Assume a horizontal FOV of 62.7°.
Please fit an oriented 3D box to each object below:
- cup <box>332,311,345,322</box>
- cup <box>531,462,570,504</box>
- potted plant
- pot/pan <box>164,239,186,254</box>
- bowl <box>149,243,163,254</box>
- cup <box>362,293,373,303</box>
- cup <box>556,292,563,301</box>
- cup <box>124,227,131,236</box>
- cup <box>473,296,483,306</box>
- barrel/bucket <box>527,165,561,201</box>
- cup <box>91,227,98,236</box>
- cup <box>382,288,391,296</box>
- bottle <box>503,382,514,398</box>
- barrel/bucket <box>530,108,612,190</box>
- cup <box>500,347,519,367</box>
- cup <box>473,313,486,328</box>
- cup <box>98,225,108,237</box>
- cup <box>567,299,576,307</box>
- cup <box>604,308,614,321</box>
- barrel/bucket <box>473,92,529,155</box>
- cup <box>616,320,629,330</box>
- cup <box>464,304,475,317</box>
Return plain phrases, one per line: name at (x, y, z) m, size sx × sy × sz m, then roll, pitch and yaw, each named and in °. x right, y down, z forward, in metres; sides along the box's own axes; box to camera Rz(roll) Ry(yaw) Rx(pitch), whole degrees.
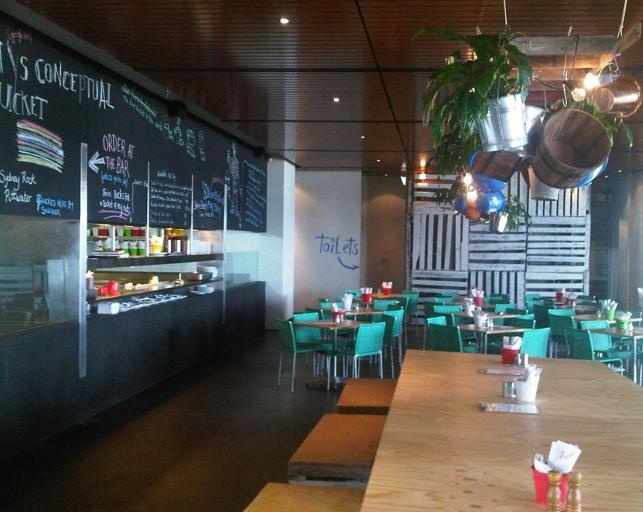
cup at (0.190, 0.693, 5.984) m, size 0.105 × 0.093 × 0.114 m, roll 0°, pitch -9°, yaw 0°
cup at (0.683, 0.701, 1.619) m, size 0.111 × 0.088 × 0.110 m, roll 2°, pitch 2°, yaw 0°
potted plant at (1.513, -0.915, 4.197) m, size 1.544 × 1.137 × 1.587 m, roll 6°, pitch -3°, yaw -1°
pot/pan at (-1.979, -0.119, 7.117) m, size 0.240 × 0.246 × 0.181 m, roll 1°, pitch 3°, yaw -5°
bowl at (-2.054, -0.085, 6.510) m, size 0.096 × 0.072 × 0.098 m, roll -1°, pitch -11°, yaw 0°
cup at (0.707, 0.656, 8.083) m, size 0.122 × 0.107 × 0.136 m, roll 1°, pitch -10°, yaw 0°
cup at (3.862, 0.664, 8.575) m, size 0.122 × 0.099 × 0.118 m, roll 0°, pitch -3°, yaw 0°
cup at (-2.328, -0.286, 6.362) m, size 0.084 × 0.098 × 0.087 m, roll 0°, pitch -9°, yaw 0°
cup at (2.127, 0.623, 7.229) m, size 0.125 × 0.101 × 0.119 m, roll 1°, pitch -10°, yaw 0°
barrel/bucket at (0.976, -0.295, 2.350) m, size 0.175 × 0.165 × 0.197 m, roll 5°, pitch 1°, yaw 31°
cup at (-2.589, -0.276, 5.979) m, size 0.095 × 0.094 × 0.083 m, roll 3°, pitch -2°, yaw -20°
cup at (1.150, 0.647, 9.398) m, size 0.128 × 0.105 × 0.119 m, roll 0°, pitch -8°, yaw 0°
bottle at (0.900, 0.651, 2.538) m, size 0.067 × 0.071 × 0.065 m, roll 2°, pitch 2°, yaw 19°
barrel/bucket at (0.956, -0.417, 2.023) m, size 0.260 × 0.292 × 0.093 m, roll 1°, pitch 3°, yaw 6°
cup at (1.094, 0.591, 3.072) m, size 0.100 × 0.085 × 0.096 m, roll 1°, pitch -4°, yaw 0°
cup at (1.652, 0.674, 5.512) m, size 0.119 × 0.114 × 0.134 m, roll 4°, pitch -14°, yaw -2°
cup at (-2.476, -0.282, 5.999) m, size 0.109 × 0.130 × 0.112 m, roll 0°, pitch -4°, yaw 0°
cup at (3.816, 0.726, 8.083) m, size 0.102 × 0.120 × 0.112 m, roll 1°, pitch 0°, yaw 7°
cup at (3.295, 0.674, 6.035) m, size 0.114 × 0.120 × 0.109 m, roll 2°, pitch -9°, yaw 0°
barrel/bucket at (0.698, -0.511, 2.095) m, size 0.183 × 0.189 × 0.212 m, roll -2°, pitch -6°, yaw 6°
cup at (3.026, 0.699, 5.312) m, size 0.099 × 0.102 × 0.091 m, roll 0°, pitch -1°, yaw 0°
cup at (1.789, 0.667, 6.411) m, size 0.129 × 0.147 × 0.152 m, roll 2°, pitch 3°, yaw 9°
